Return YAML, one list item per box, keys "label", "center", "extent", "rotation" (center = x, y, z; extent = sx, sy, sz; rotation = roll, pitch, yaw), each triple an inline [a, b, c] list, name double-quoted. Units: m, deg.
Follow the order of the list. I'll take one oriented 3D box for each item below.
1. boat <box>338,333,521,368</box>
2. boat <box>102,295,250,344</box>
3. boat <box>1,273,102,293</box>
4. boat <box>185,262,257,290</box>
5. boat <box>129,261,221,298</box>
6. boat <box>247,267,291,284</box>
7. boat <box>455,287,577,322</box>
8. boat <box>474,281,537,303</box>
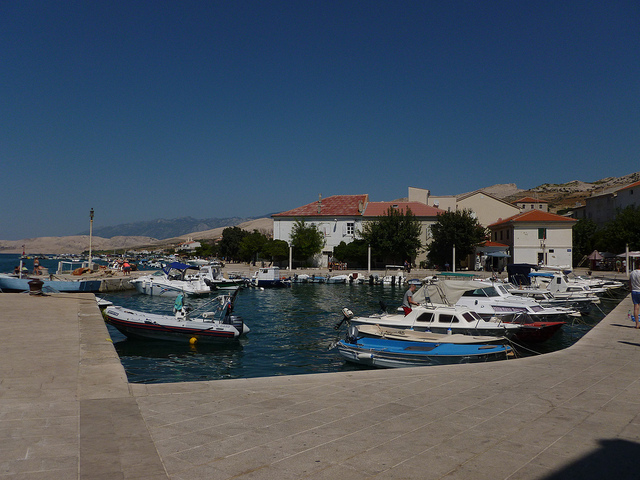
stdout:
- label: "boat"
  center: [3.259, 3.588, 15.782]
  extent: [5.801, 0.780, 2.044]
  rotation: [0, 4, 20]
- label: "boat"
  center: [-6.103, 3.537, 21.356]
  extent: [5.365, 1.553, 2.513]
  rotation: [2, -8, 1]
- label: "boat"
  center: [-20.560, 3.270, 36.943]
  extent: [6.743, 0.992, 1.877]
  rotation: [5, -7, -3]
- label: "boat"
  center: [-10.042, 3.635, 48.835]
  extent: [9.953, 2.838, 2.236]
  rotation: [4, -6, -3]
- label: "boat"
  center: [-12.135, 3.313, 40.773]
  extent: [5.666, 3.011, 6.500]
  rotation: [-4, -4, 6]
- label: "boat"
  center: [-5.425, 3.719, 50.148]
  extent: [3.804, 1.785, 1.075]
  rotation: [-4, -4, 14]
- label: "boat"
  center: [7.945, 2.953, 21.770]
  extent: [6.642, 1.552, 1.644]
  rotation: [2, 4, 13]
- label: "boat"
  center: [8.464, 2.373, 22.297]
  extent: [2.481, 0.654, 1.621]
  rotation: [1, 2, 16]
